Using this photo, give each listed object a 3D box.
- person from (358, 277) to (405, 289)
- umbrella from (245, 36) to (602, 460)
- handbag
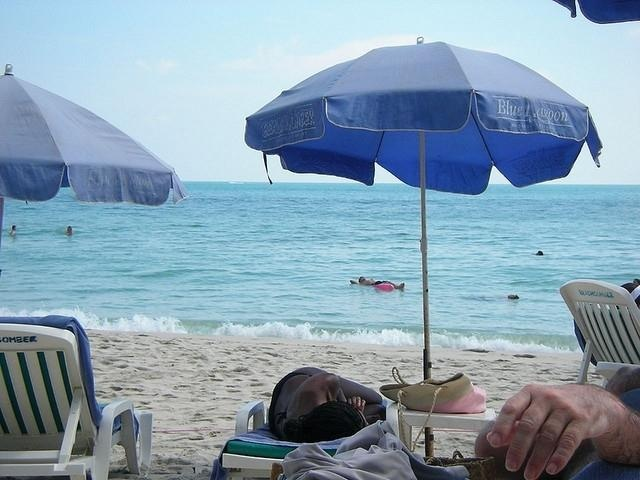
[{"bbox_3d":[1.895,1.343,25.258,0.918,0.275,0.244,5,-6,-4],"label":"person"},{"bbox_3d":[0.669,-0.463,8.436,3.285,3.527,3.313,0,2,-14],"label":"umbrella"},{"bbox_3d":[1.037,1.509,7.081,0.819,0.353,0.665,-5,22,6],"label":"handbag"}]
